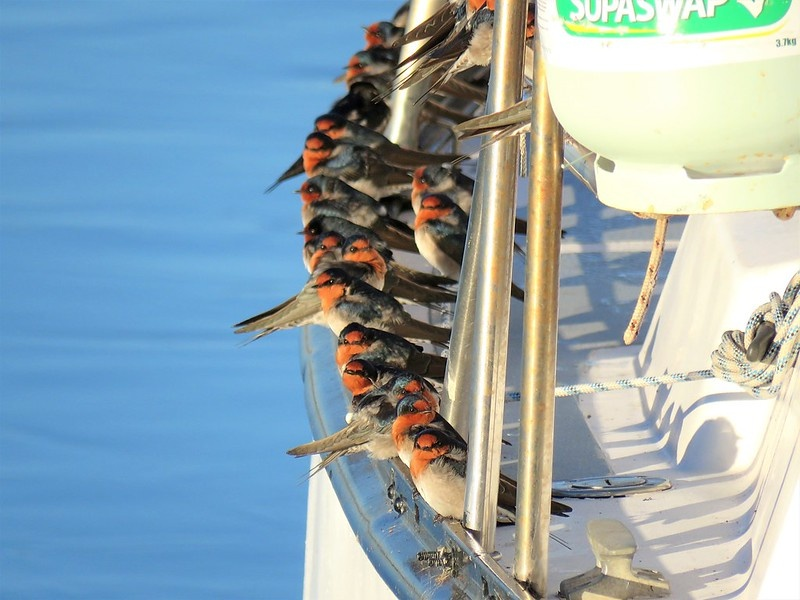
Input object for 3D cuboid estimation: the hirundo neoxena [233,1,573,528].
[{"bbox_3d":[0.005,0.520,11.200,1.145,1.654,0.575,2,-57,-7],"label":"hirundo neoxena"}]
